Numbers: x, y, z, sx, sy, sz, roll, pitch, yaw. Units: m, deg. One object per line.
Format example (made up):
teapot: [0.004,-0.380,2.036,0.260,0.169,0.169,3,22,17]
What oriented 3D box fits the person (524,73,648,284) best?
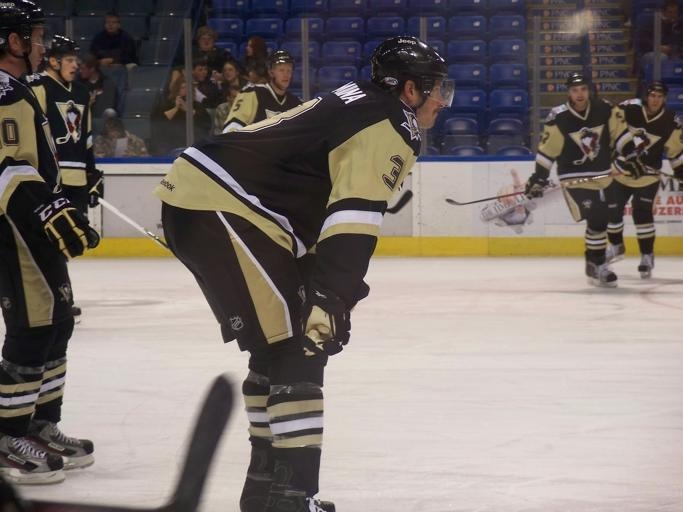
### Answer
person: [2.103,-0.643,8.285,0.790,1.671,0.903,-4,9,-26]

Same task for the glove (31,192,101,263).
glove: [-1.075,-0.115,3.863,0.203,0.238,0.106,-37,8,-24]

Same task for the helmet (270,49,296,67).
helmet: [-0.446,-1.451,7.288,0.156,0.123,0.110,-16,2,6]

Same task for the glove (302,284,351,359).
glove: [-0.095,0.243,3.480,0.178,0.268,0.214,1,-20,-19]

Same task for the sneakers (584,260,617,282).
sneakers: [2.065,0.128,8.062,0.149,0.184,0.329,-3,7,-18]

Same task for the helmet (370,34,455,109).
helmet: [0.247,-0.688,3.751,0.327,0.216,0.248,4,6,-1]

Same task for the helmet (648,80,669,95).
helmet: [2.769,-1.489,8.816,0.135,0.117,0.168,14,17,16]
